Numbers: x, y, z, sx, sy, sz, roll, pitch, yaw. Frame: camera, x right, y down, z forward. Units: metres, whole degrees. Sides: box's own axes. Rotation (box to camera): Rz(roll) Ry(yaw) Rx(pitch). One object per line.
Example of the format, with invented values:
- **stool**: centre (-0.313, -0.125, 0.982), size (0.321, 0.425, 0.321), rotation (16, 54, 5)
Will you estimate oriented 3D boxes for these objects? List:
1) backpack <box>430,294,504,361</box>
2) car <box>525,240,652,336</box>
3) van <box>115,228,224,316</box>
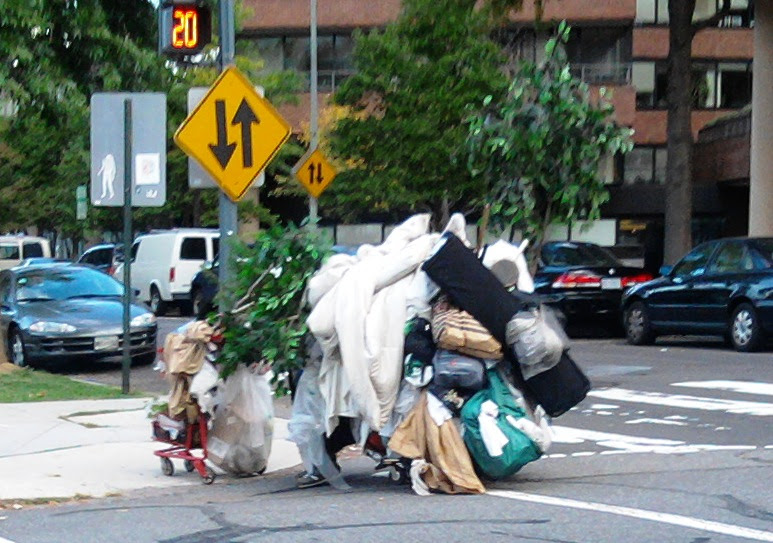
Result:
- **backpack**: centre (0.809, 0.564, 11.907), size (0.605, 0.509, 0.203), rotation (23, -48, -12)
- **car**: centre (3.702, 0.203, 21.995), size (1.479, 1.088, 3.185), rotation (0, 0, -7)
- **van**: centre (-5.434, 0.173, 31.493), size (2.470, 1.999, 4.480), rotation (0, 5, -27)
